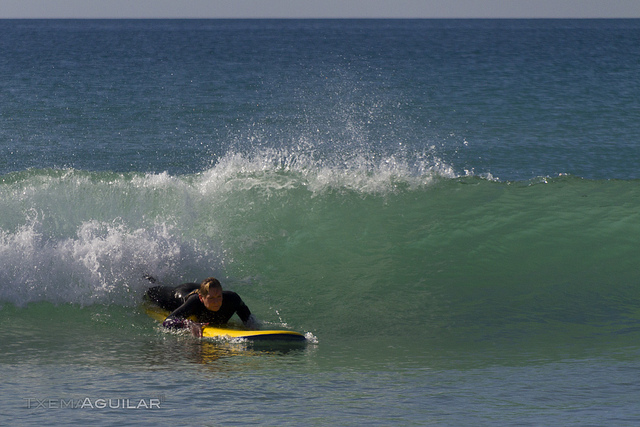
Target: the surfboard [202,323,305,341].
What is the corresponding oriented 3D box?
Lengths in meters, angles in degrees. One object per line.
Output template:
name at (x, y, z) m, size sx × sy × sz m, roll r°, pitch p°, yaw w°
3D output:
surfboard at (-2.972, 5.263, 51.341) m, size 4.274 × 0.454 × 0.599 m, roll 4°, pitch 19°, yaw 4°
